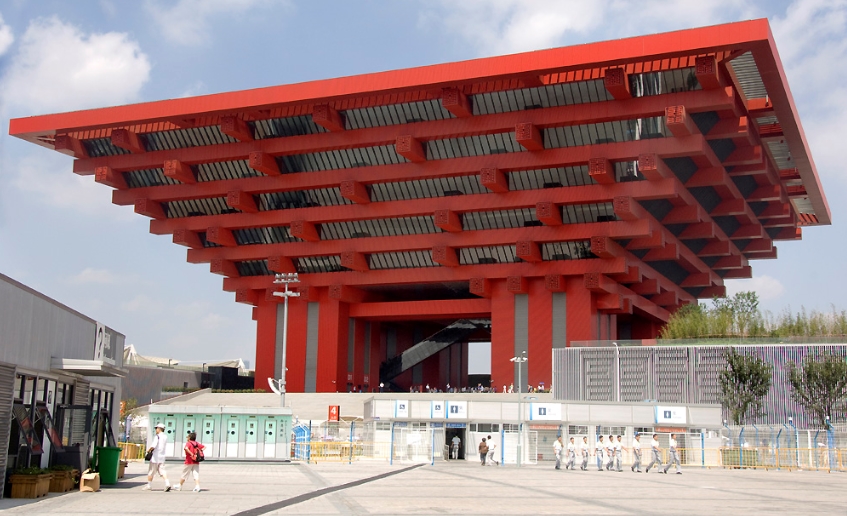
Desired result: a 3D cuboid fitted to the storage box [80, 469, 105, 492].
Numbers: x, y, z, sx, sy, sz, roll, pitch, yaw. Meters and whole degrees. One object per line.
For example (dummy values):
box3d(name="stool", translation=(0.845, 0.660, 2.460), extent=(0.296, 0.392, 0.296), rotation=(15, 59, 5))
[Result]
box3d(name="storage box", translation=(-15.046, 9.805, 46.049), extent=(1.045, 0.908, 0.811), rotation=(1, -7, -7))

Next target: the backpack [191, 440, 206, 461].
box3d(name="backpack", translation=(-10.459, 8.721, 47.096), extent=(0.473, 0.886, 0.760), rotation=(-1, -17, -2))

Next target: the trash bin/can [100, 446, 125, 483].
box3d(name="trash bin/can", translation=(-14.914, 9.493, 48.022), extent=(1.046, 1.722, 0.985), rotation=(3, -18, -15))

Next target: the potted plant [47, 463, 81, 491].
box3d(name="potted plant", translation=(-16.284, 9.687, 45.941), extent=(0.525, 1.086, 1.100), rotation=(-17, -23, 39))

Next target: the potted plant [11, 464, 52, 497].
box3d(name="potted plant", translation=(-17.057, 9.436, 43.863), extent=(0.958, 0.824, 1.428), rotation=(0, -12, -1))
